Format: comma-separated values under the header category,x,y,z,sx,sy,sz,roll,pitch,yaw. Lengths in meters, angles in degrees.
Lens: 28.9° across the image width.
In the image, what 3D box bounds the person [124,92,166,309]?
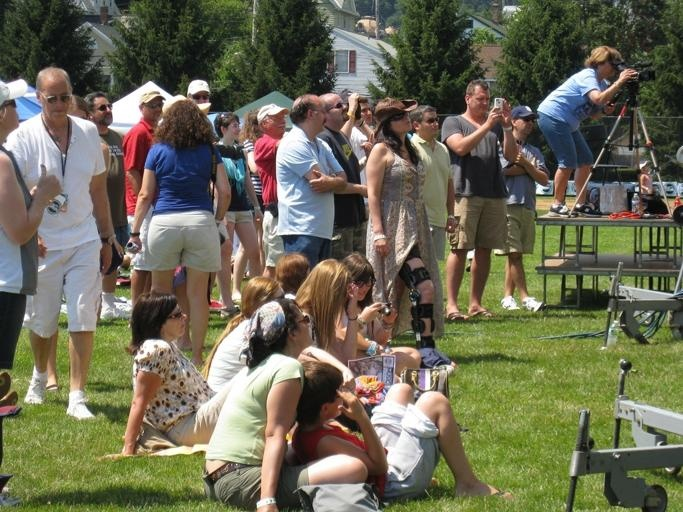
category,x,y,z,sx,sy,sz,roll,pitch,yaw
person,-2.351,-0.681,15.573,0.542,2.715,0.506,-1,14,-5

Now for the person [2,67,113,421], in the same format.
category,x,y,z,sx,sy,sz,roll,pitch,yaw
person,-2.787,-0.093,13.673,1.065,3.341,1.165,1,2,23

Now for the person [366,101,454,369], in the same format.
category,x,y,z,sx,sy,sz,roll,pitch,yaw
person,0.719,-0.229,14.664,0.855,2.791,1.006,-1,2,-17

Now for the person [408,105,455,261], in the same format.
category,x,y,z,sx,sy,sz,roll,pitch,yaw
person,1.075,-0.613,15.993,0.566,2.274,0.778,4,6,41

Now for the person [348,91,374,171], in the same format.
category,x,y,z,sx,sy,sz,roll,pitch,yaw
person,0.283,-1.659,17.731,0.323,1.032,0.329,-9,19,-34

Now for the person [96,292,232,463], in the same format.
category,x,y,z,sx,sy,sz,roll,pitch,yaw
person,-1.493,1.267,13.003,1.041,1.572,1.508,10,15,-2

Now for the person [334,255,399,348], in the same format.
category,x,y,z,sx,sy,sz,roll,pitch,yaw
person,0.268,0.484,13.609,0.652,0.947,0.581,1,17,-15

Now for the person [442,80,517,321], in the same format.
category,x,y,z,sx,sy,sz,roll,pitch,yaw
person,1.852,-0.810,16.532,1.050,3.135,0.994,-1,2,-17

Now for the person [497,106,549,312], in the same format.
category,x,y,z,sx,sy,sz,roll,pitch,yaw
person,2.354,-0.601,17.617,0.768,2.549,0.804,0,2,-16

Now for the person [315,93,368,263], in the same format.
category,x,y,z,sx,sy,sz,roll,pitch,yaw
person,0.019,-0.917,15.408,0.529,1.891,0.574,-3,15,-24

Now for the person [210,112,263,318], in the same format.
category,x,y,z,sx,sy,sz,roll,pitch,yaw
person,-1.297,-0.593,17.105,0.736,2.533,0.702,-19,27,-34

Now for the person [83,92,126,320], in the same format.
category,x,y,z,sx,sy,sz,roll,pitch,yaw
person,-2.863,-0.865,16.525,0.657,3.391,0.700,-2,15,-11

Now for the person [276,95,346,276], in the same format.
category,x,y,z,sx,sy,sz,roll,pitch,yaw
person,-0.352,-0.833,14.613,0.751,1.860,0.447,3,0,-4

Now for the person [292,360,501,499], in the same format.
category,x,y,z,sx,sy,sz,roll,pitch,yaw
person,0.433,1.589,12.230,1.764,1.225,1.127,-7,9,-22
